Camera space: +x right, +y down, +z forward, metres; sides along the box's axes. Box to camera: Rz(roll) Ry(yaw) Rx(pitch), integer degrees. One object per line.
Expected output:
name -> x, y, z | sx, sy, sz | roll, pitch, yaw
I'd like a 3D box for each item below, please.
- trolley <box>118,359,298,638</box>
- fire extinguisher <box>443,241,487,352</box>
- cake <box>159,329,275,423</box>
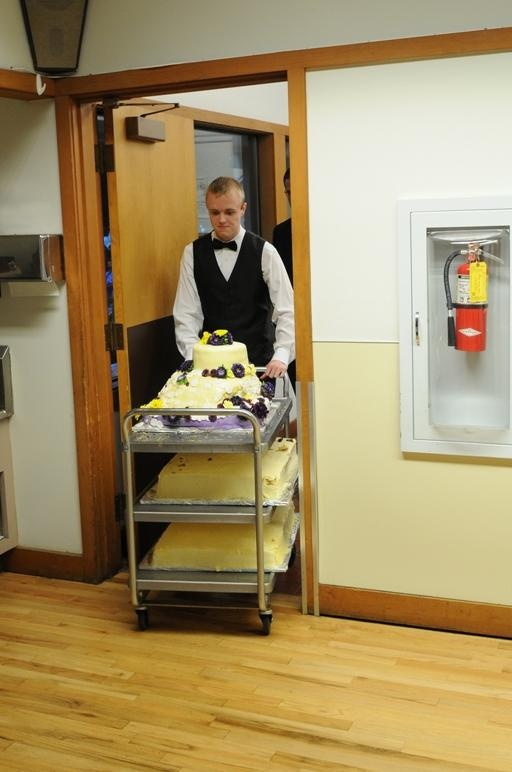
trolley -> -0.126, 0.270, 2.495 | 0.473, 0.804, 0.784 | -1, 11, 10
fire extinguisher -> 0.665, -0.275, 2.018 | 0.133, 0.336, 0.124 | -1, 4, 20
cake -> -0.151, -0.035, 2.215 | 0.405, 0.325, 0.413 | -2, 4, 2
